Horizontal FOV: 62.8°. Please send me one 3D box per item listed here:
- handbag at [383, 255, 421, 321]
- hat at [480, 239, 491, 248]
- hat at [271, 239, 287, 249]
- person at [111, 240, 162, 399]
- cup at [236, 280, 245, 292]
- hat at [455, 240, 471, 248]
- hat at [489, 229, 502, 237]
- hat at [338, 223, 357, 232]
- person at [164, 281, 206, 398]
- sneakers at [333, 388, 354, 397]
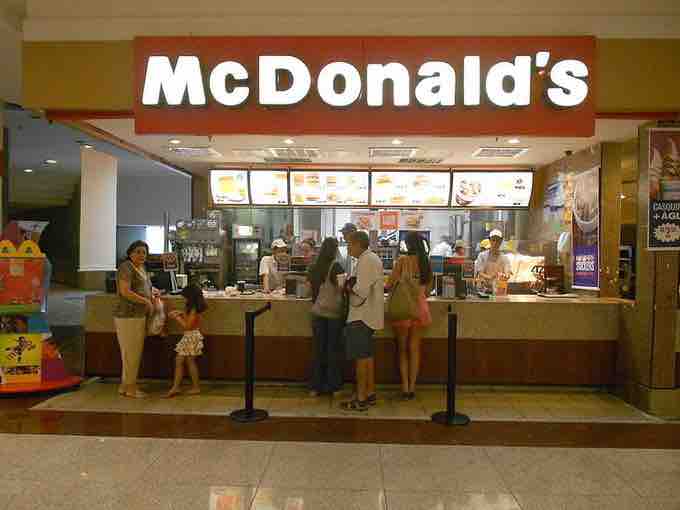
[{"bbox_3d":[0.735,0.416,6.468,0.353,0.873,0.635,6,-7,-11],"label":"handbag"},{"bbox_3d":[2.521,-0.157,9.604,0.137,0.118,0.198,-13,12,22],"label":"hat"},{"bbox_3d":[-0.886,-0.168,8.014,0.154,0.083,0.235,1,-3,-16],"label":"hat"},{"bbox_3d":[-2.418,0.748,6.572,0.426,1.749,0.564,1,11,2],"label":"person"},{"bbox_3d":[-1.308,0.419,7.409,0.121,0.201,0.125,0,6,0],"label":"cup"},{"bbox_3d":[1.890,-0.158,8.426,0.256,0.081,0.258,-1,2,-32],"label":"hat"},{"bbox_3d":[2.313,-0.306,8.232,0.201,0.124,0.327,0,-2,13],"label":"hat"},{"bbox_3d":[0.088,-0.349,7.583,0.192,0.120,0.138,11,14,34],"label":"hat"},{"bbox_3d":[-1.843,0.999,6.687,0.478,1.342,0.543,-3,12,-15],"label":"person"},{"bbox_3d":[0.059,1.659,6.683,0.096,0.088,0.275,-5,-13,34],"label":"sneakers"}]
